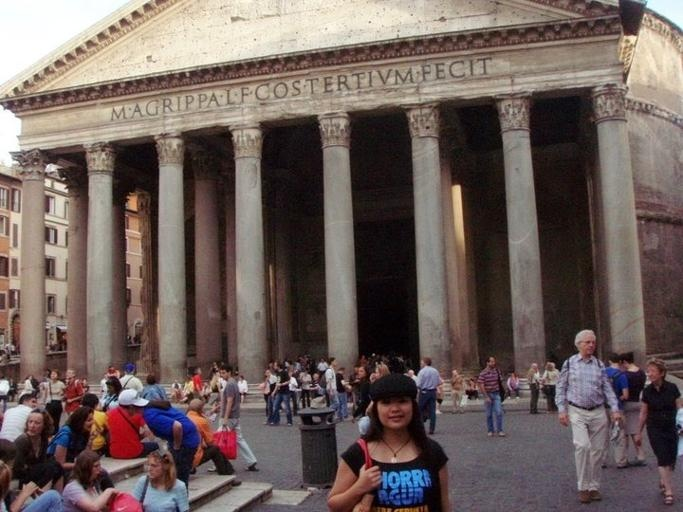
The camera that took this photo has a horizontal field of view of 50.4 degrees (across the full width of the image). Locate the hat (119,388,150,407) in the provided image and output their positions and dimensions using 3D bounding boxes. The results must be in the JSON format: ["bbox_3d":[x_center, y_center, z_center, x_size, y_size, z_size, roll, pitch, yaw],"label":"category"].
[{"bbox_3d":[-4.009,2.736,14.027,0.549,0.209,0.352,6,4,-14],"label":"hat"}]

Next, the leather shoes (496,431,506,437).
[{"bbox_3d":[4.150,4.569,18.831,0.177,0.130,0.136,-7,-7,11],"label":"leather shoes"}]

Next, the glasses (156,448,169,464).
[{"bbox_3d":[-2.768,3.108,11.358,0.195,0.179,0.280,-4,-7,-9],"label":"glasses"}]

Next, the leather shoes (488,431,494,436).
[{"bbox_3d":[3.894,4.584,18.948,0.138,0.143,0.223,-7,-7,11],"label":"leather shoes"}]

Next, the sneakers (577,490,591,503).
[{"bbox_3d":[4.343,4.257,12.945,0.209,0.207,0.169,-7,-7,16],"label":"sneakers"}]

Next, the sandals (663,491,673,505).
[{"bbox_3d":[5.694,4.172,12.656,0.161,0.172,0.369,-8,-7,23],"label":"sandals"}]

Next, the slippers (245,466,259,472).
[{"bbox_3d":[-2.001,4.733,16.297,0.323,0.133,0.115,13,-20,-37],"label":"slippers"}]

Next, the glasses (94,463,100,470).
[{"bbox_3d":[-3.913,3.356,11.671,0.108,0.136,0.093,13,-19,-36],"label":"glasses"}]
